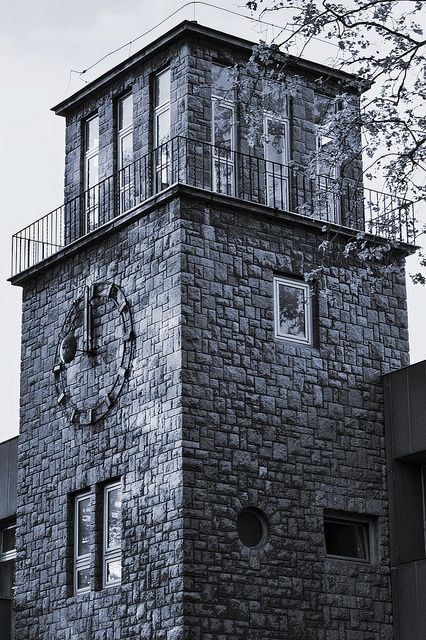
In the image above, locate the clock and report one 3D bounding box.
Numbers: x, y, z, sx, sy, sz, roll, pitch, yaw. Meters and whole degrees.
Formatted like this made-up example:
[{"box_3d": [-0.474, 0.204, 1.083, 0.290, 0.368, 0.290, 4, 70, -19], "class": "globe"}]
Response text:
[{"box_3d": [-1.815, 0.404, 31.619, 0.246, 2.392, 2.133, 8, -22, -30], "class": "clock"}]
